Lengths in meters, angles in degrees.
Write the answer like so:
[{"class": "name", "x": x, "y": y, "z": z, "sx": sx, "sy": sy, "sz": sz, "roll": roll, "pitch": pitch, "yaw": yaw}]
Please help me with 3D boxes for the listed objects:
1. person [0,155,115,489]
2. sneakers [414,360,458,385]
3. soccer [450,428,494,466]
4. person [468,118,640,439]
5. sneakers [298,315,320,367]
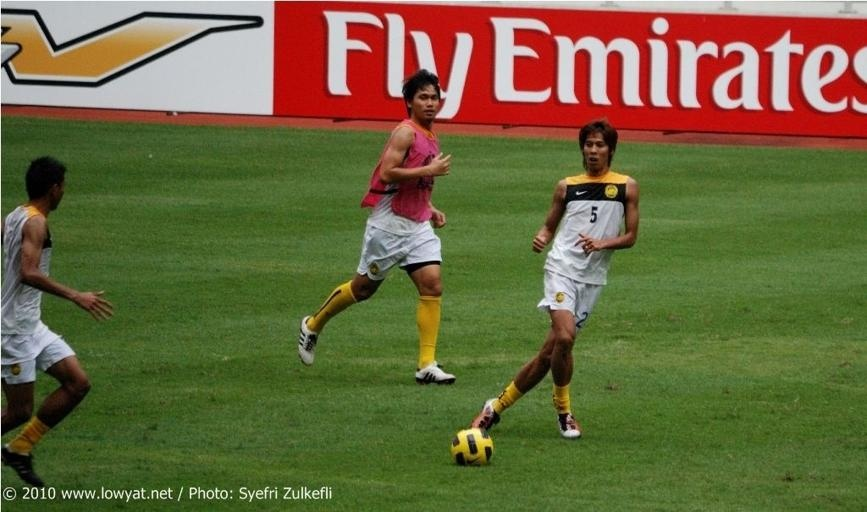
[{"class": "person", "x": -3.430, "y": 0.628, "z": 14.133, "sx": 0.927, "sy": 2.903, "sz": 0.640, "roll": 11, "pitch": 13, "yaw": 26}, {"class": "sneakers", "x": 0.008, "y": 1.140, "z": 15.350, "sx": 0.462, "sy": 0.191, "sz": 0.157, "roll": 1, "pitch": 6, "yaw": 7}, {"class": "soccer", "x": 0.300, "y": 1.692, "z": 14.486, "sx": 0.386, "sy": 0.332, "sz": 0.342, "roll": -5, "pitch": 25, "yaw": -22}, {"class": "person", "x": 1.227, "y": 0.217, "z": 14.622, "sx": 1.282, "sy": 2.882, "sz": 0.659, "roll": -4, "pitch": 15, "yaw": -37}, {"class": "sneakers", "x": -1.244, "y": 0.828, "z": 15.642, "sx": 0.182, "sy": 0.471, "sz": 0.229, "roll": -5, "pitch": 11, "yaw": -25}]
